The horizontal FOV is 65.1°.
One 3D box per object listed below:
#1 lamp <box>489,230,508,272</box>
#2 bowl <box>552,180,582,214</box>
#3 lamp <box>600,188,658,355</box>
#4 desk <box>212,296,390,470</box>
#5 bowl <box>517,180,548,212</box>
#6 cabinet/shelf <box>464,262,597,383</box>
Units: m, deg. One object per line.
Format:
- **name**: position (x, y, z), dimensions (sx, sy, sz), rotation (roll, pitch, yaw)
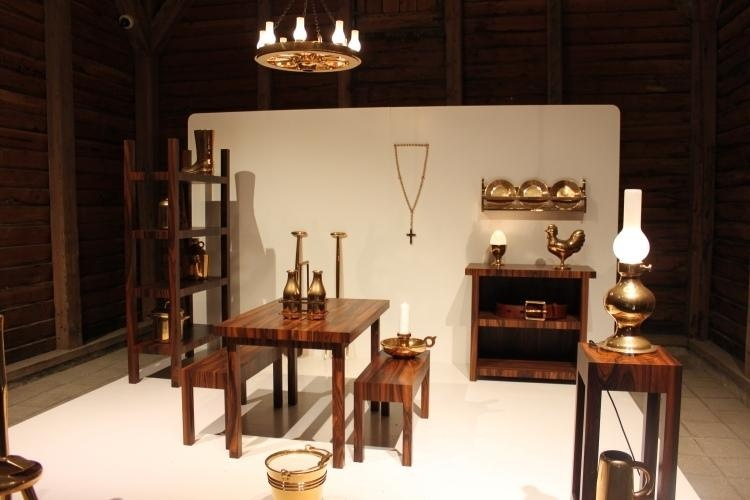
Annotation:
- **lamp**: position (1.183, -0.021, 5.656), dimensions (0.161, 0.348, 0.442), rotation (3, 15, 12)
- **bowl**: position (1.869, -0.511, 5.797), dimensions (0.298, 0.303, 0.187), rotation (12, -4, 4)
- **lamp**: position (1.625, 0.123, 3.671), dimensions (0.325, 0.984, 0.478), rotation (6, 16, 24)
- **desk**: position (-0.530, 0.656, 4.662), dimensions (1.055, 1.057, 1.666), rotation (1, 5, 12)
- **bowl**: position (1.559, -0.600, 5.781), dimensions (0.313, 0.067, 0.320), rotation (-15, 35, 10)
- **cabinet/shelf**: position (1.491, 0.678, 5.518), dimensions (1.119, 1.059, 0.474), rotation (0, 0, 11)
